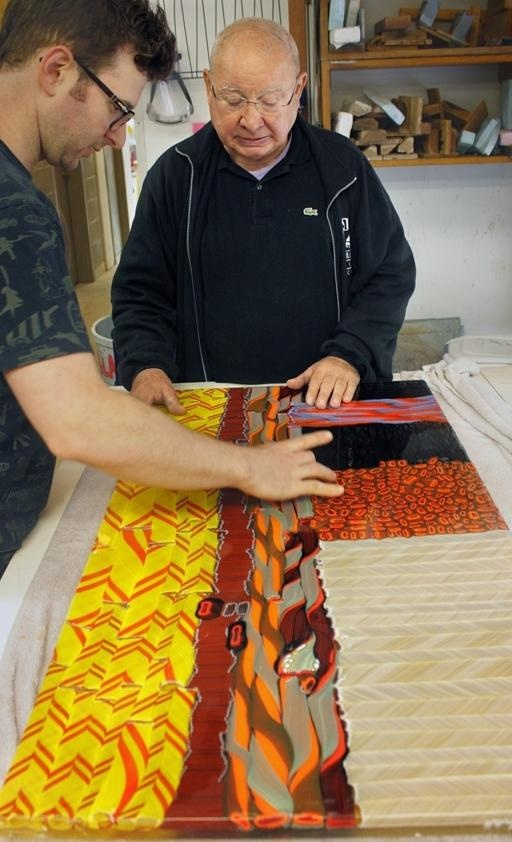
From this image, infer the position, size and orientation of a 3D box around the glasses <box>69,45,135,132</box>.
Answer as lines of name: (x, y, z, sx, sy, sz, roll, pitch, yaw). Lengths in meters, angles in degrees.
glasses: (-0.210, -0.447, 0.839, 0.022, 0.081, 0.077, -36, -15, 3)
